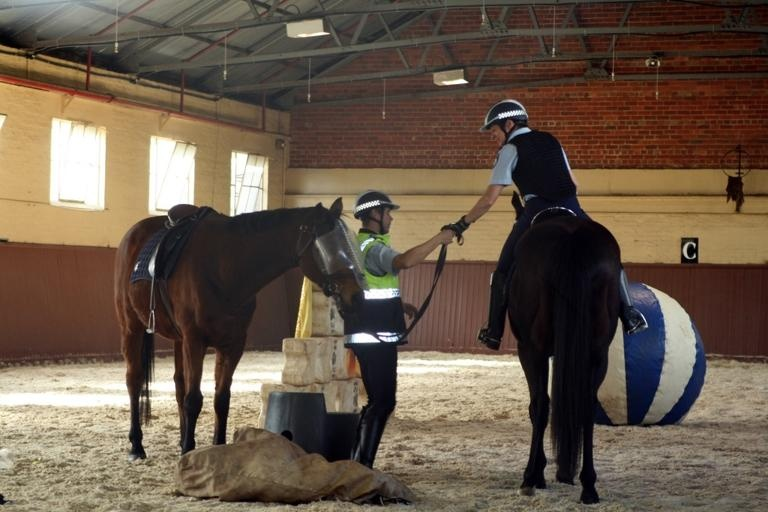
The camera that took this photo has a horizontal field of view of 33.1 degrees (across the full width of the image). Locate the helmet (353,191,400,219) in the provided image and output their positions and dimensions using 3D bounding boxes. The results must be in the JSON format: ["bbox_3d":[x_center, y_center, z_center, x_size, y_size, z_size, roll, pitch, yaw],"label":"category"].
[{"bbox_3d":[-0.166,-0.867,21.442,0.585,0.382,0.445,-12,0,-11],"label":"helmet"}]

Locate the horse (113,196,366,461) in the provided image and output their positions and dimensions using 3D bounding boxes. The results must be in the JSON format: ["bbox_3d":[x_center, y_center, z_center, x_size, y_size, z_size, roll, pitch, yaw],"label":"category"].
[{"bbox_3d":[-2.737,1.223,21.602,4.178,4.211,1.304,3,1,29],"label":"horse"}]

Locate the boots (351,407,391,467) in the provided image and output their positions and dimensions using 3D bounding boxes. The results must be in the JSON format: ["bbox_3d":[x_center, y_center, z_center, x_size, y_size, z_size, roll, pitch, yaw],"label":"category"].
[{"bbox_3d":[-0.215,2.960,20.971,0.568,0.941,0.346,2,0,1],"label":"boots"}]
